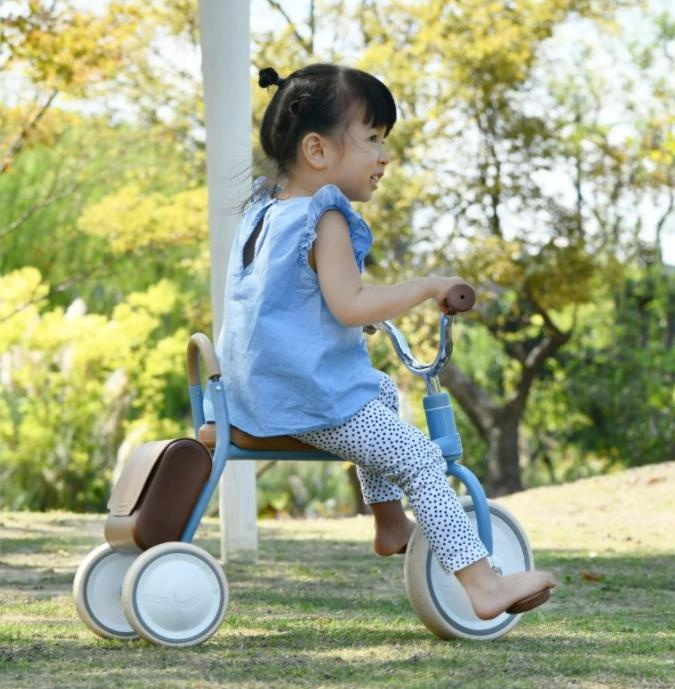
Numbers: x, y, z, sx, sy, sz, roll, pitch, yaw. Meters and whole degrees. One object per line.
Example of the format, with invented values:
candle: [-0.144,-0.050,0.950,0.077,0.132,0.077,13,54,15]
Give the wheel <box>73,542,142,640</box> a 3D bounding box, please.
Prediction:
wheel: [-0.570,0.542,2.870,0.231,0.220,0.085,2,-6,-11]

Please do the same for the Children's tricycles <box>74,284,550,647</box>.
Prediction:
Children's tricycles: [-0.078,0.297,3.104,1.168,0.773,0.737,3,-10,-26]

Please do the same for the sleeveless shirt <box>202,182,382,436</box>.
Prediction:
sleeveless shirt: [-0.142,-0.068,2.923,0.409,0.540,0.264,0,2,9]

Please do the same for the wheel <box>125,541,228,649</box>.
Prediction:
wheel: [-0.407,0.535,2.790,0.173,0.160,0.071,27,-17,-8]

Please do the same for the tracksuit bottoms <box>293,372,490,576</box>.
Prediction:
tracksuit bottoms: [0.083,0.301,2.848,0.438,0.363,0.148,-1,2,2]
